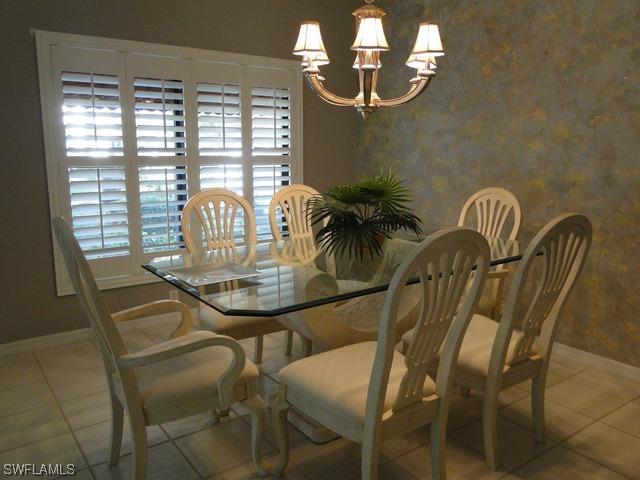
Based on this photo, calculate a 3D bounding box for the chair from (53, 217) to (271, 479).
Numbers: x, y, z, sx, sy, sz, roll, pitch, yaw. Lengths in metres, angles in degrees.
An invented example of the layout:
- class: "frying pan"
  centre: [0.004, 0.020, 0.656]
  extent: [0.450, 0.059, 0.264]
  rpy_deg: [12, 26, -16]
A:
- class: "chair"
  centre: [-0.721, 0.530, 2.295]
  extent: [0.645, 1.260, 0.765]
  rpy_deg: [-12, 19, -43]

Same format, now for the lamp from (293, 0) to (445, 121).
- class: "lamp"
  centre: [0.308, -1.038, 2.942]
  extent: [0.844, 0.901, 0.954]
  rpy_deg: [3, 13, 9]

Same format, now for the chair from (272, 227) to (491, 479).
- class: "chair"
  centre: [0.257, 0.535, 2.218]
  extent: [0.763, 1.266, 0.577]
  rpy_deg: [-8, 17, -33]
